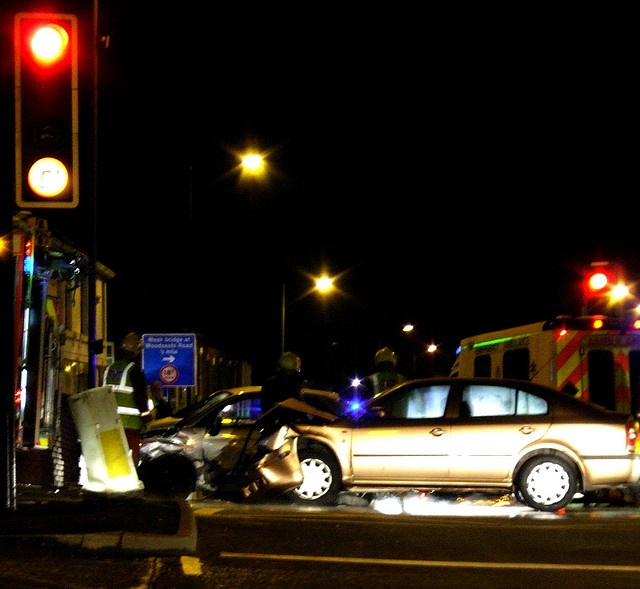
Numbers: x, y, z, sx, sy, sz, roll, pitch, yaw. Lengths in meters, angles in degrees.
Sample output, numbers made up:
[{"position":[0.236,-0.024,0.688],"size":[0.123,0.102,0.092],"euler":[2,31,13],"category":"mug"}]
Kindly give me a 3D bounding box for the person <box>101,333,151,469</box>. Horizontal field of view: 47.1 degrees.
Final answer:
[{"position":[-2.043,1.090,7.735],"size":[0.484,1.040,0.534],"euler":[3,-2,-16],"category":"person"}]

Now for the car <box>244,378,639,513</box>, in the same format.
[{"position":[1.435,1.765,9.048],"size":[4.251,1.320,1.612],"euler":[2,-7,4],"category":"car"}]

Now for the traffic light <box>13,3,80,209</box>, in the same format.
[{"position":[-2.118,-1.439,5.710],"size":[0.557,1.293,0.295],"euler":[3,-2,-15],"category":"traffic light"}]

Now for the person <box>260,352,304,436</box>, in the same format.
[{"position":[-0.522,1.308,9.972],"size":[0.533,0.956,0.927],"euler":[5,-6,-26],"category":"person"}]

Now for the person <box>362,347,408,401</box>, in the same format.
[{"position":[1.111,1.413,12.702],"size":[0.611,0.836,0.869],"euler":[-4,-15,6],"category":"person"}]

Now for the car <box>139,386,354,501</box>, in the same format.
[{"position":[-1.039,1.870,9.413],"size":[2.269,1.041,1.336],"euler":[2,-6,-5],"category":"car"}]

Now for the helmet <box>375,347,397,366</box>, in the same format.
[{"position":[1.178,1.070,12.949],"size":[0.265,0.233,0.382],"euler":[-7,-9,43],"category":"helmet"}]
